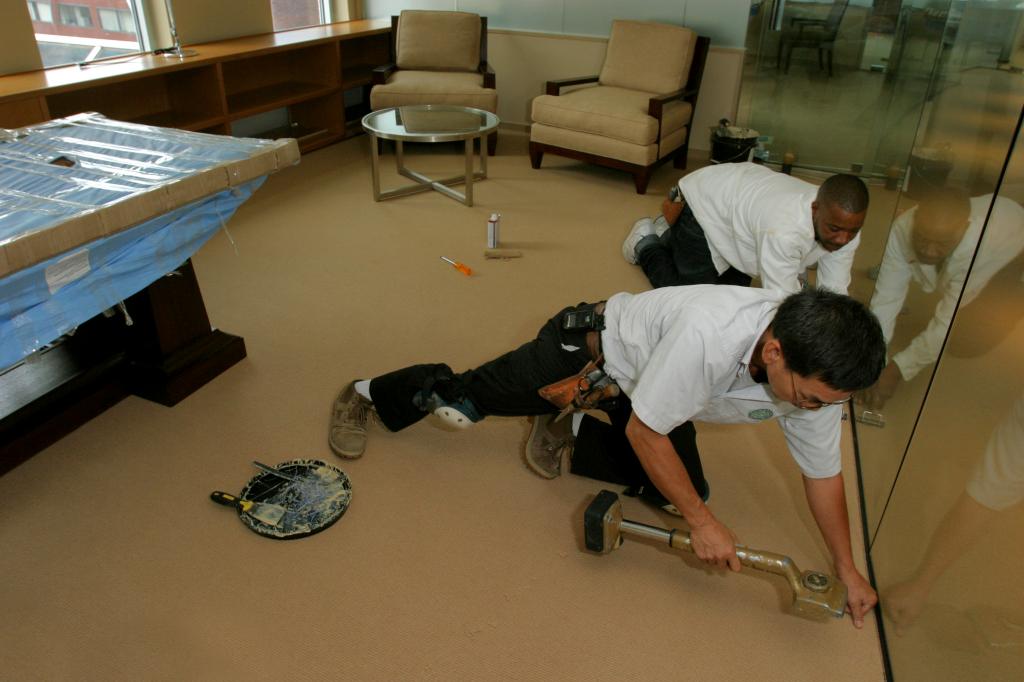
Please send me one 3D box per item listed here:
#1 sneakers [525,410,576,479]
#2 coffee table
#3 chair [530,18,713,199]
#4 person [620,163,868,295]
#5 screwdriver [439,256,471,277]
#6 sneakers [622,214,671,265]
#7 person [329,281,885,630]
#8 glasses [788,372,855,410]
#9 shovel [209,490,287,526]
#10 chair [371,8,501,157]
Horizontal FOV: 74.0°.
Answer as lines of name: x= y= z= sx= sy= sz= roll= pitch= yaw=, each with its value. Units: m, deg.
sneakers: x=0.131 y=0.409 z=2.766 sx=0.151 sy=0.324 sz=0.136 roll=-1 pitch=16 yaw=-34
coffee table: x=-0.599 y=-1.416 z=4.763 sx=0.894 sy=0.547 sz=0.902 roll=12 pitch=40 yaw=14
chair: x=0.831 y=-1.875 z=5.280 sx=0.970 sy=0.997 sz=1.181 roll=18 pitch=36 yaw=25
person: x=1.146 y=-0.542 z=3.424 sx=0.891 sy=0.716 sz=0.320 roll=42 pitch=61 yaw=13
screwdriver: x=-0.332 y=-0.449 z=3.979 sx=0.083 sy=0.033 sz=0.235 roll=-33 pitch=44 yaw=-22
sneakers: x=0.800 y=-0.655 z=4.087 sx=0.210 sy=0.122 sz=0.331 roll=10 pitch=60 yaw=44
person: x=0.391 y=0.194 z=2.362 sx=1.836 sy=1.034 sz=0.455 roll=20 pitch=34 yaw=26
glasses: x=0.864 y=0.148 z=1.916 sx=0.125 sy=0.122 sz=0.040 roll=-30 pitch=45 yaw=26
shovel: x=-1.017 y=0.630 z=2.583 sx=0.329 sy=0.037 sz=0.107 roll=18 pitch=47 yaw=15
chair: x=-0.408 y=-2.150 z=5.899 sx=1.061 sy=1.296 sz=1.209 roll=1 pitch=44 yaw=0
